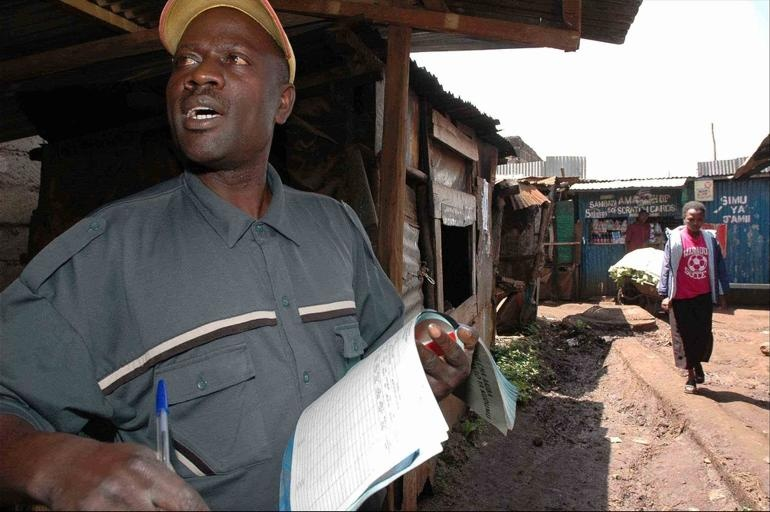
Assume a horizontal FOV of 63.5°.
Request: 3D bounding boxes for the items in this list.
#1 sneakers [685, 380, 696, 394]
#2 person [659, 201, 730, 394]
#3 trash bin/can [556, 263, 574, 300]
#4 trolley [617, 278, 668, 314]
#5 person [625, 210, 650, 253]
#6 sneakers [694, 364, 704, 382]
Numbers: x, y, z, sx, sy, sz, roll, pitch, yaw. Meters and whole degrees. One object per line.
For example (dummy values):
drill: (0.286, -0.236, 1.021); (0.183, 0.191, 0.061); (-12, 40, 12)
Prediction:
sneakers: (3.874, 1.647, 7.912); (0.138, 0.159, 0.167); (1, 8, 27)
person: (4.036, 0.484, 8.106); (0.763, 2.383, 0.683); (-3, 8, -8)
trash bin/can: (4.958, 0.694, 17.198); (0.458, 0.927, 0.192); (0, 8, 16)
trolley: (5.931, 0.932, 14.514); (0.887, 0.660, 1.634); (3, 13, -4)
person: (6.134, -0.604, 15.197); (0.511, 1.062, 0.668); (1, 8, 21)
sneakers: (3.979, 1.499, 7.965); (0.096, 0.291, 0.123); (-9, -14, 34)
